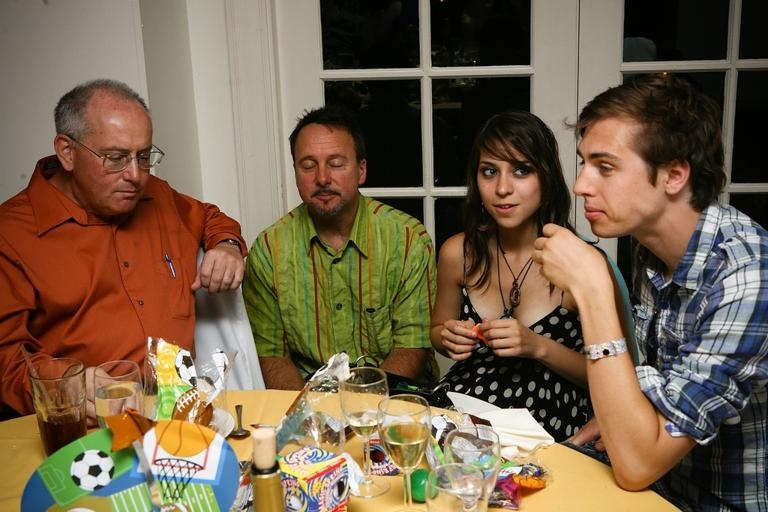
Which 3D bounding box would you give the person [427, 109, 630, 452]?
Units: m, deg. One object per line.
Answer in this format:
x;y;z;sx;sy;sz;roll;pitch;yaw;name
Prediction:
0.552;0.131;2.393;0.744;1.417;0.690;2;7;28;person

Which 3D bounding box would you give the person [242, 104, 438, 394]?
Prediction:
-0.223;0.015;2.564;0.833;1.422;0.968;-1;-13;-6;person

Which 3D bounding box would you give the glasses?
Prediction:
-1.005;-0.382;2.155;0.333;0.138;0.135;-7;10;-31;glasses

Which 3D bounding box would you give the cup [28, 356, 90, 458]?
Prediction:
-0.915;0.429;1.631;0.134;0.245;0.144;4;14;-1;cup
